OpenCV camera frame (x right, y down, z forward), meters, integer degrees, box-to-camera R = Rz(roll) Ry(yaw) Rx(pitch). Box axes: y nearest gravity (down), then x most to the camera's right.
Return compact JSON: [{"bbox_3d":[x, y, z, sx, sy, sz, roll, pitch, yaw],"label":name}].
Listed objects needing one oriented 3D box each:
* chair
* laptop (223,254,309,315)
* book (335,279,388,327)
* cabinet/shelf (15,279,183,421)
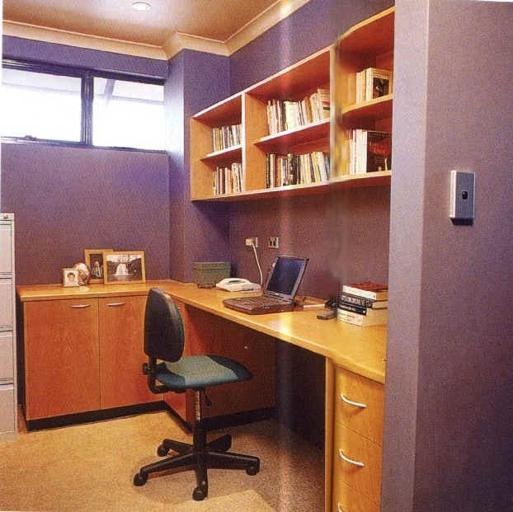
[{"bbox_3d":[-0.338,0.606,2.742,0.682,1.294,0.771,0,0,-14],"label":"chair"},{"bbox_3d":[0.047,0.165,2.544,0.306,0.276,0.310,2,-1,-29],"label":"laptop"},{"bbox_3d":[0.457,0.203,2.110,0.153,0.122,0.160,1,0,-33],"label":"book"},{"bbox_3d":[-1.112,0.610,3.242,0.959,1.141,0.616,0,-2,-29],"label":"cabinet/shelf"}]
